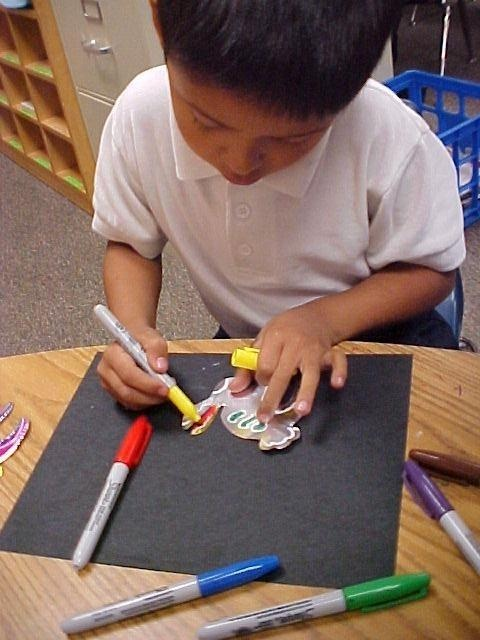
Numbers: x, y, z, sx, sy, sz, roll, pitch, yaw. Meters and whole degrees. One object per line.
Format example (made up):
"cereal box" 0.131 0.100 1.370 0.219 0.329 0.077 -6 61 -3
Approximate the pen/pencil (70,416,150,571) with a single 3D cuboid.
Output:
"pen/pencil" -0.111 0.144 0.468 0.022 0.020 0.145 35 42 -19
